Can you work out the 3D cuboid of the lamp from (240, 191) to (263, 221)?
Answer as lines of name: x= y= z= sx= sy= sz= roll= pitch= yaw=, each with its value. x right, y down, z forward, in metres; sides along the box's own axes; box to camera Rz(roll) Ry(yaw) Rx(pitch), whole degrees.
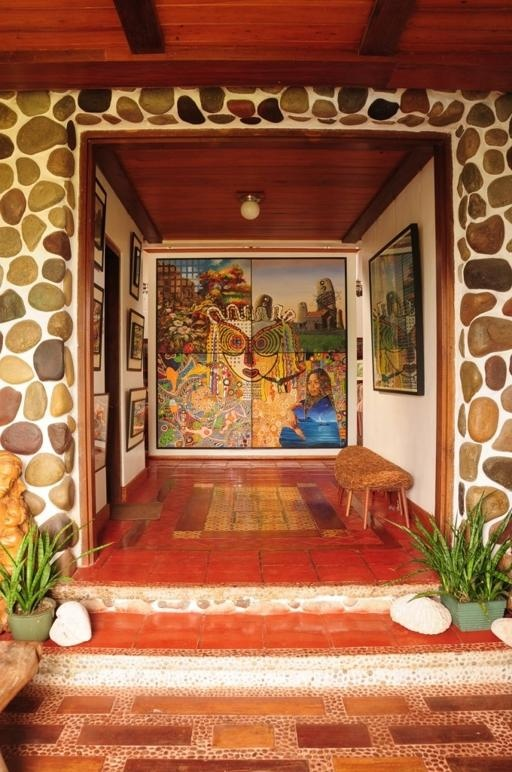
lamp: x=-0.056 y=-1.556 z=4.385 sx=0.215 sy=0.281 sz=0.220 roll=1 pitch=-2 yaw=-1

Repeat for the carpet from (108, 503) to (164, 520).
carpet: x=-0.927 y=0.980 z=3.987 sx=0.365 sy=0.015 sz=0.546 roll=0 pitch=1 yaw=-8

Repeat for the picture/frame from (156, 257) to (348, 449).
picture/frame: x=-0.110 y=-0.391 z=6.286 sx=2.216 sy=2.338 sz=0.083 roll=0 pitch=-1 yaw=-1
